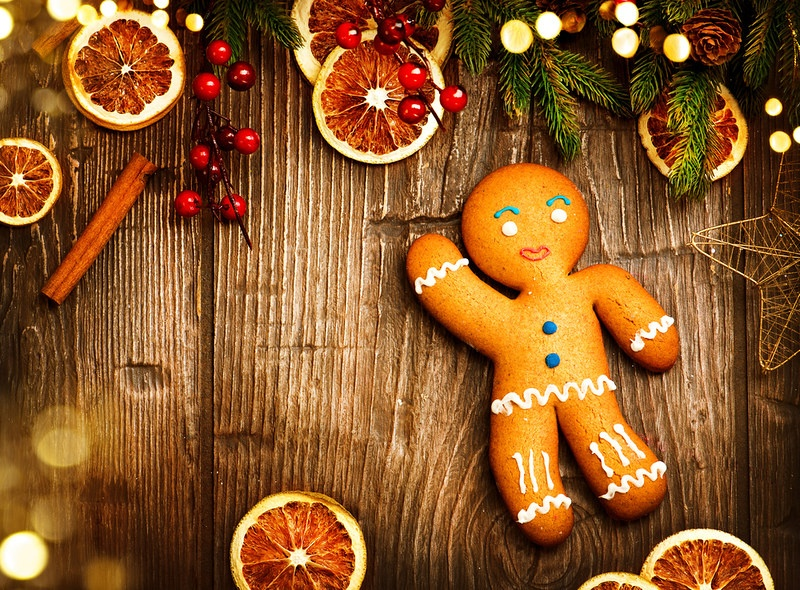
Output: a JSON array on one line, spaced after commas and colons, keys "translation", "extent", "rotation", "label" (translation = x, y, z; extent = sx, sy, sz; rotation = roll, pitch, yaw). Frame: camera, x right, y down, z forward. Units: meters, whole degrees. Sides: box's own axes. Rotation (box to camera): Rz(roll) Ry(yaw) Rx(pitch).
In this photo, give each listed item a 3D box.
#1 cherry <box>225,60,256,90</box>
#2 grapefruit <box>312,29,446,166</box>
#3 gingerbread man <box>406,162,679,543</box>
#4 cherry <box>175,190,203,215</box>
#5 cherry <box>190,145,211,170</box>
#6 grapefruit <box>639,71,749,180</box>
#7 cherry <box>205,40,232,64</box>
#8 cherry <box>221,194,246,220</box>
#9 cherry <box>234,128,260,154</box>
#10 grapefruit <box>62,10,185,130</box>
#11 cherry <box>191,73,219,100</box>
[{"translation": [-0.321, -0.435, 2.353], "extent": [0.049, 0.059, 0.054], "rotation": [2, -4, -21], "label": "cherry"}, {"translation": [-0.073, -0.381, 2.416], "extent": [0.236, 0.286, 0.060], "rotation": [10, 5, 1], "label": "grapefruit"}, {"translation": [0.306, 0.082, 2.373], "extent": [0.496, 0.781, 0.147], "rotation": [-10, 1, 3], "label": "gingerbread man"}, {"translation": [-0.440, -0.184, 2.431], "extent": [0.057, 0.056, 0.086], "rotation": [-1, 5, -11], "label": "cherry"}, {"translation": [-0.405, -0.275, 2.371], "extent": [0.038, 0.055, 0.044], "rotation": [2, 3, 20], "label": "cherry"}, {"translation": [0.613, -0.354, 2.416], "extent": [0.188, 0.219, 0.029], "rotation": [0, -3, -2], "label": "grapefruit"}, {"translation": [-0.360, -0.477, 2.321], "extent": [0.040, 0.058, 0.046], "rotation": [-4, -12, 11], "label": "cherry"}, {"translation": [-0.344, -0.176, 2.407], "extent": [0.045, 0.055, 0.027], "rotation": [0, 1, -3], "label": "cherry"}, {"translation": [-0.308, -0.303, 2.365], "extent": [0.043, 0.058, 0.048], "rotation": [-2, -15, 7], "label": "cherry"}, {"translation": [-0.570, -0.461, 2.420], "extent": [0.211, 0.260, 0.055], "rotation": [2, 5, -7], "label": "grapefruit"}, {"translation": [-0.389, -0.407, 2.341], "extent": [0.049, 0.053, 0.028], "rotation": [-31, 0, -6], "label": "cherry"}]
